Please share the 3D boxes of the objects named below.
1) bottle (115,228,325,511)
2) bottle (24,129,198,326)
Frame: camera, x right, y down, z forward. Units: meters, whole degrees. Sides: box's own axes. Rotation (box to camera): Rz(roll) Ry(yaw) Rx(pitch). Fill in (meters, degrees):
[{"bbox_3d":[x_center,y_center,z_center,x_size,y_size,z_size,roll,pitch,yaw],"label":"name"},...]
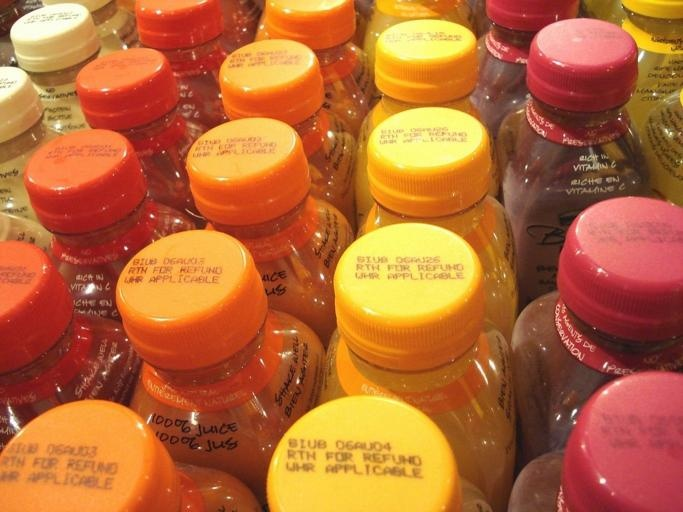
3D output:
[{"bbox_3d":[-0.142,0.137,0.725,0.118,0.275,0.145,18,48,21],"label":"bottle"},{"bbox_3d":[-0.303,-0.033,0.826,0.139,0.306,0.159,-8,45,0],"label":"bottle"}]
